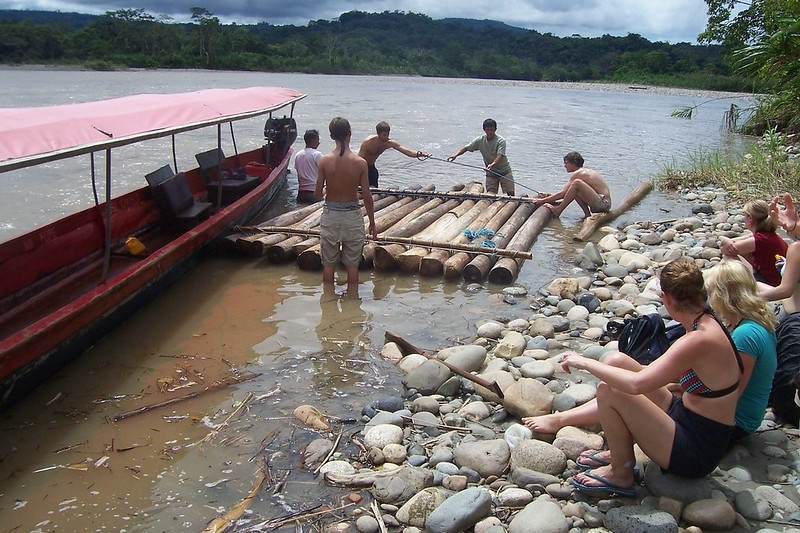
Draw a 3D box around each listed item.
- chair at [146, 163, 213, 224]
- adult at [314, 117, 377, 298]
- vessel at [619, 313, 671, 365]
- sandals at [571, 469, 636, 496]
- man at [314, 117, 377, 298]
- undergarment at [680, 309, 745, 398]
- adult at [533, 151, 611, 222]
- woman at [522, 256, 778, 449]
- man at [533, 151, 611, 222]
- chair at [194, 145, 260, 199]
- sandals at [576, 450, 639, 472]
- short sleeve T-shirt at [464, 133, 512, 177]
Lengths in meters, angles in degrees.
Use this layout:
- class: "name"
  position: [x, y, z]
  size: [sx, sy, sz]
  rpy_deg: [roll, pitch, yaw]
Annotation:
- class: "chair"
  position: [-4.278, -1.346, 10.531]
  size: [1.017, 1.038, 1.184]
  rpy_deg: [9, 22, -1]
- class: "adult"
  position: [-0.959, -1.029, 9.056]
  size: [0.885, 2.834, 0.830]
  rpy_deg: [4, 23, -2]
- class: "vessel"
  position: [2.602, 0.747, 5.601]
  size: [0.531, 0.471, 0.441]
  rpy_deg: [6, -13, 23]
- class: "sandals"
  position: [1.913, 2.055, 4.979]
  size: [0.458, 0.127, 0.261]
  rpy_deg: [6, 10, 10]
- class: "man"
  position: [-0.965, -1.017, 9.025]
  size: [0.876, 2.834, 0.763]
  rpy_deg: [4, 23, -2]
- class: "undergarment"
  position: [2.808, 0.784, 4.695]
  size: [0.546, 0.772, 0.381]
  rpy_deg: [11, 23, 15]
- class: "adult"
  position: [4.247, -2.018, 13.034]
  size: [1.825, 1.505, 1.170]
  rpy_deg: [0, 16, 15]
- class: "woman"
  position: [2.721, 1.031, 5.672]
  size: [2.643, 1.889, 1.077]
  rpy_deg: [-31, 21, 32]
- class: "man"
  position: [4.250, -2.010, 13.049]
  size: [1.827, 1.474, 1.127]
  rpy_deg: [2, 17, 20]
- class: "chair"
  position: [-4.055, -2.162, 12.657]
  size: [1.094, 1.137, 1.386]
  rpy_deg: [10, 24, 13]
- class: "sandals"
  position: [1.980, 1.870, 5.191]
  size: [0.470, 0.117, 0.269]
  rpy_deg: [3, 18, 16]
- class: "short sleeve T-shirt"
  position: [2.381, -2.961, 13.966]
  size: [0.934, 1.004, 0.527]
  rpy_deg: [20, 27, 34]
